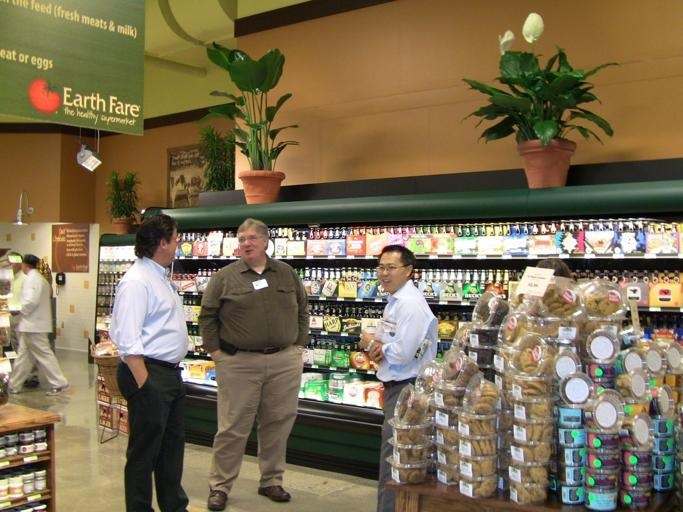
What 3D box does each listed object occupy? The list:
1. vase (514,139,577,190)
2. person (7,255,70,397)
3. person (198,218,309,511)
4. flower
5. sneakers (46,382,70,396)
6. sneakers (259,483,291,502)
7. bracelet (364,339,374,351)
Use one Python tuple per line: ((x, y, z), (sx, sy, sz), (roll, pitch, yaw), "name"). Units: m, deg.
((1.790, -0.754, 4.776), (0.452, 0.355, 0.451), (-4, 5, -38), "vase")
((-4.699, 1.040, 8.422), (0.714, 2.296, 1.071), (3, 0, -33), "person")
((-0.741, 0.879, 4.499), (0.898, 2.355, 0.363), (3, 0, -6), "person")
((1.791, -1.567, 4.874), (1.209, 1.173, 1.180), (-12, 19, 11), "flower")
((-4.264, 2.027, 8.215), (0.139, 0.165, 0.332), (-6, -11, 33), "sneakers")
((-0.571, 1.991, 4.609), (0.280, 0.124, 0.105), (-2, -4, 43), "sneakers")
((0.178, 0.581, 3.561), (0.038, 0.058, 0.062), (31, 28, 10), "bracelet")
